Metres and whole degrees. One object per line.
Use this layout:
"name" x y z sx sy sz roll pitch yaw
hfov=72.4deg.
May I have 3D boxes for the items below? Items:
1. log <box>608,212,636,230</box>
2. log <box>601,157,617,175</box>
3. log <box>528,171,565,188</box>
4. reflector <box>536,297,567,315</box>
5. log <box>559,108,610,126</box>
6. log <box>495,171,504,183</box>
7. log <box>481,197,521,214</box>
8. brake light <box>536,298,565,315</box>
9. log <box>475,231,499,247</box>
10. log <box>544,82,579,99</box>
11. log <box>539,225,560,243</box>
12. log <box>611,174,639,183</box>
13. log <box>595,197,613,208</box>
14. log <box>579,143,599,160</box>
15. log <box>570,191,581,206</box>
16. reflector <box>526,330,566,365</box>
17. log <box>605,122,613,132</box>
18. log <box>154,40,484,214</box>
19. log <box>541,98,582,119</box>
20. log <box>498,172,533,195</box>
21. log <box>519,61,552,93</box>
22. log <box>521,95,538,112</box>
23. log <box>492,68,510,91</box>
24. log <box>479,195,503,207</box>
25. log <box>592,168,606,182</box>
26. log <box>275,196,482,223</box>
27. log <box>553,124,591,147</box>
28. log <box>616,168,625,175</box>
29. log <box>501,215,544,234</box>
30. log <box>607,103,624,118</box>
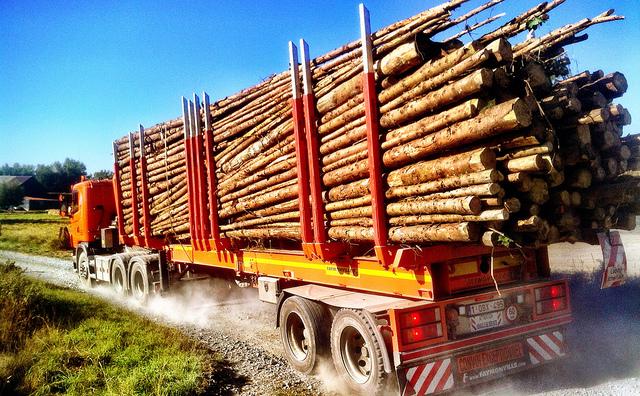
"log" 5.362 0.409 7.719 0.429 0.348 0.331 2 -1 27
"log" 4.899 -0.546 7.386 0.317 0.292 0.119 -5 5 -16
"log" 3.658 -0.355 6.905 0.224 0.315 0.420 -3 0 -18
"reflector" 4.170 1.916 7.921 0.477 0.266 0.110 -12 -2 -14
"log" 4.381 -1.327 7.202 0.825 0.245 0.257 -5 6 -14
"log" 2.744 -0.324 6.636 0.070 0.174 0.162 0 7 35
"log" 2.792 0.103 6.555 0.198 0.200 0.708 -2 1 41
"brake light" 4.157 1.918 7.862 0.461 0.117 0.240 -1 -3 -17
"log" 2.584 0.617 6.818 0.251 0.262 0.273 27 -8 -11
"log" 4.117 -1.820 7.414 0.408 0.162 0.440 0 21 44
"log" 3.707 0.611 7.022 0.069 0.307 0.299 13 2 -10
"log" 5.251 -0.343 7.499 0.444 0.125 0.133 -4 5 1
"log" 4.743 0.059 7.326 0.173 0.048 0.190 -7 -33 41
"log" 4.324 -0.734 7.057 0.288 0.287 0.069 34 -3 -11
"log" 4.212 0.008 7.227 0.320 0.242 0.058 -8 7 -39
"reflector" 4.025 2.616 7.746 0.818 0.444 0.086 -6 6 -20
"log" 4.858 -1.194 7.342 0.138 0.153 0.033 20 -10 -35
"log" 0.425 -1.149 7.990 0.427 0.466 7.179 17 -35 -41
"log" 4.065 -1.498 7.234 0.321 0.245 0.621 -28 13 -36
"log" 3.003 -0.235 6.701 0.312 0.409 0.541 -19 16 -38
"log" 3.521 -1.966 7.124 0.658 0.503 0.234 -8 7 -39
"log" 3.232 -1.453 6.699 0.182 0.285 0.563 0 6 30
"log" 2.775 -1.819 6.695 0.223 0.415 0.085 -10 8 -23
"log" 2.588 0.042 6.595 0.128 0.153 0.453 -12 4 -25
"log" 4.658 -0.408 7.285 0.140 0.194 0.317 1 7 42
"log" 1.362 0.181 7.346 2.619 0.441 0.231 0 6 36
"log" 4.101 -1.014 7.104 0.475 0.409 0.664 -16 18 -39
"log" 5.142 -0.460 7.471 0.173 0.109 0.043 -7 6 -28
"log" 3.180 0.412 6.813 0.554 0.254 0.289 -14 -2 43
"log" 5.025 -1.478 7.426 0.209 0.215 0.271 1 7 42
